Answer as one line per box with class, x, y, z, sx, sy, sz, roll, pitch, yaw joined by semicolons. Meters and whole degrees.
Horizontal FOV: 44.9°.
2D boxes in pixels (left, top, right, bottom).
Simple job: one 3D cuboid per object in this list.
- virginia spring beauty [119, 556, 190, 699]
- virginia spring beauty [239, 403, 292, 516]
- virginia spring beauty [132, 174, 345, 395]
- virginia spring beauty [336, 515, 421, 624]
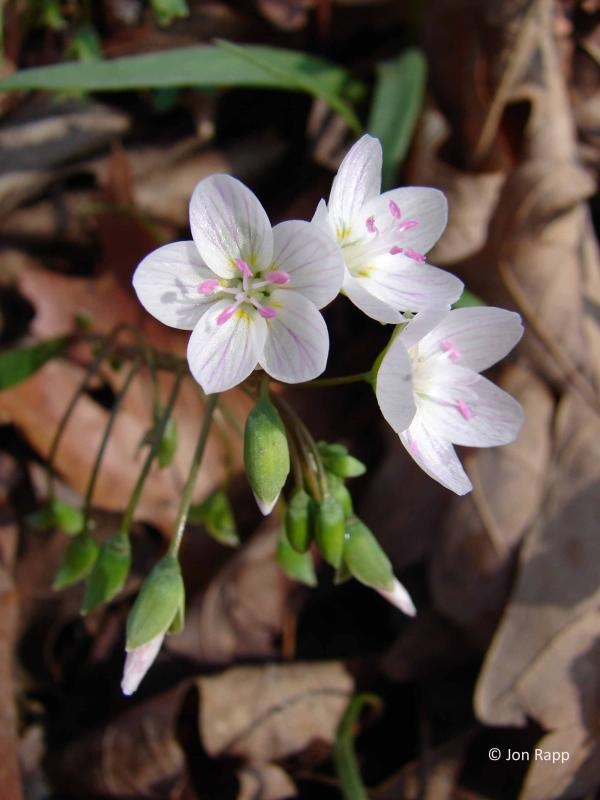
virginia spring beauty;-0.110;0.182;0.605;0.042;0.037;0.113;27;72;-22
virginia spring beauty;-0.022;0.048;0.581;0.032;0.027;0.092;2;68;-7
virginia spring beauty;-0.042;-0.088;0.562;0.128;0.128;0.158;-30;52;-24
virginia spring beauty;0.057;0.139;0.644;0.039;0.030;0.113;-29;77;-22
